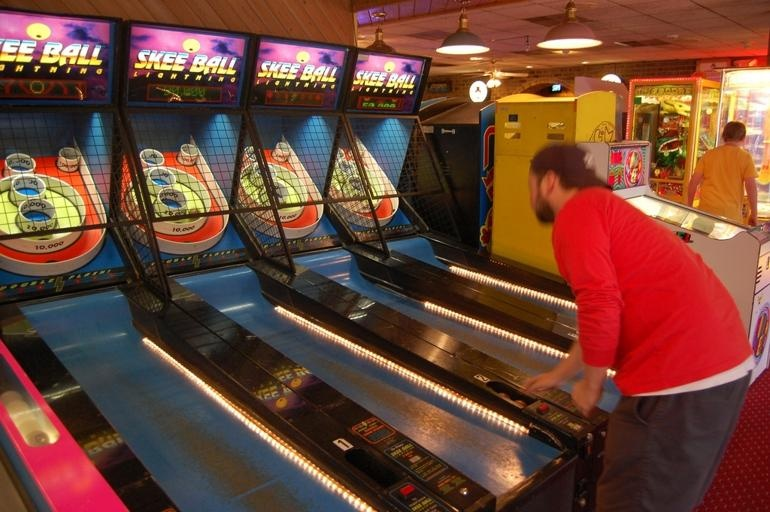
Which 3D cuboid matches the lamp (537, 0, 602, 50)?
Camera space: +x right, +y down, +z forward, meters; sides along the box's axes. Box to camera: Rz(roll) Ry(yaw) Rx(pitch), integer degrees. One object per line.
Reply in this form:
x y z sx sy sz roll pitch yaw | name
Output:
2.087 -2.627 5.418 0.592 0.518 0.580 2 21 15 | lamp

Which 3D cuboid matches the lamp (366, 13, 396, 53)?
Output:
-0.082 -3.185 6.921 0.572 0.489 0.522 16 30 26 | lamp
